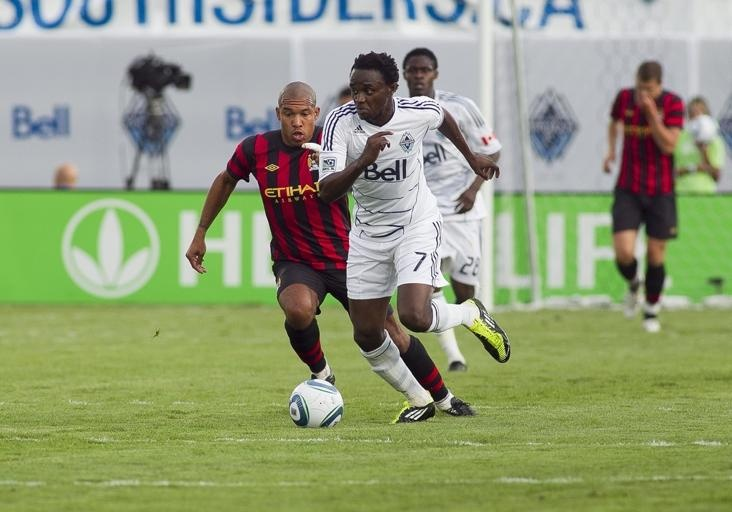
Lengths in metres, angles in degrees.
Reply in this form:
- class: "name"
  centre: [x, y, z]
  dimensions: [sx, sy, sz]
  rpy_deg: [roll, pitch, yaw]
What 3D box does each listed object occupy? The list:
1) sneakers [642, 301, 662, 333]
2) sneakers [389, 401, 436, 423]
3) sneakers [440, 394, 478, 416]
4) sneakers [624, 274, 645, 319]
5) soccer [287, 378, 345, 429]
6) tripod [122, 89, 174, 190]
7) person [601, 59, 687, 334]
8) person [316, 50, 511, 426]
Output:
- class: "sneakers"
  centre: [2.453, 0.545, 11.047]
  dimensions: [0.166, 0.246, 0.104]
  rpy_deg: [-3, 3, 1]
- class: "sneakers"
  centre: [0.357, 1.182, 9.615]
  dimensions: [0.369, 0.177, 0.126]
  rpy_deg: [-7, -6, -16]
- class: "sneakers"
  centre: [0.702, 1.138, 9.740]
  dimensions: [0.275, 0.131, 0.134]
  rpy_deg: [2, 11, 5]
- class: "sneakers"
  centre: [2.308, 0.375, 11.083]
  dimensions: [0.081, 0.323, 0.188]
  rpy_deg: [11, -1, -16]
- class: "soccer"
  centre: [-0.374, 1.101, 9.509]
  dimensions: [0.362, 0.296, 0.285]
  rpy_deg: [7, 14, -9]
- class: "tripod"
  centre: [-1.884, -0.981, 11.162]
  dimensions: [0.473, 0.800, 0.753]
  rpy_deg: [-4, 3, -10]
- class: "person"
  centre: [2.397, -0.482, 10.995]
  dimensions: [0.650, 2.304, 0.604]
  rpy_deg: [-3, 3, 6]
- class: "person"
  centre: [0.272, -0.114, 9.479]
  dimensions: [0.805, 2.725, 1.349]
  rpy_deg: [-1, 3, 36]
